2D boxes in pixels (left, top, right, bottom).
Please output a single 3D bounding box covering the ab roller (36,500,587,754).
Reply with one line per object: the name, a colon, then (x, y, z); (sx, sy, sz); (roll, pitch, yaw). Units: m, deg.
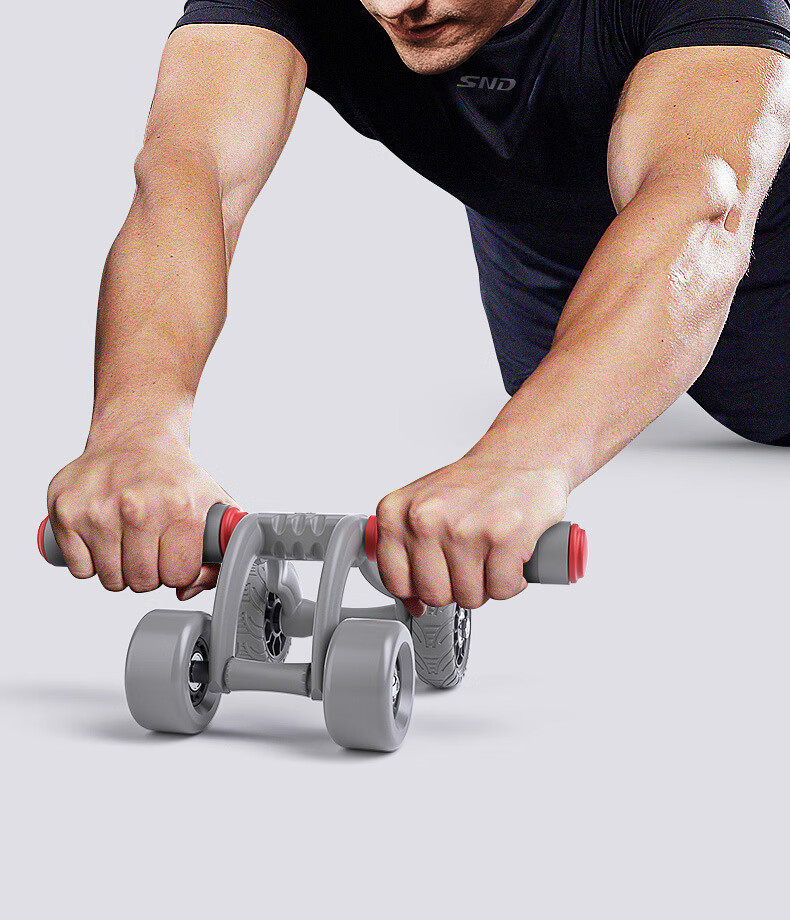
ab roller: (-0.098, 0.157, 1.146); (0.363, 0.181, 0.371); (2, 11, -3)
